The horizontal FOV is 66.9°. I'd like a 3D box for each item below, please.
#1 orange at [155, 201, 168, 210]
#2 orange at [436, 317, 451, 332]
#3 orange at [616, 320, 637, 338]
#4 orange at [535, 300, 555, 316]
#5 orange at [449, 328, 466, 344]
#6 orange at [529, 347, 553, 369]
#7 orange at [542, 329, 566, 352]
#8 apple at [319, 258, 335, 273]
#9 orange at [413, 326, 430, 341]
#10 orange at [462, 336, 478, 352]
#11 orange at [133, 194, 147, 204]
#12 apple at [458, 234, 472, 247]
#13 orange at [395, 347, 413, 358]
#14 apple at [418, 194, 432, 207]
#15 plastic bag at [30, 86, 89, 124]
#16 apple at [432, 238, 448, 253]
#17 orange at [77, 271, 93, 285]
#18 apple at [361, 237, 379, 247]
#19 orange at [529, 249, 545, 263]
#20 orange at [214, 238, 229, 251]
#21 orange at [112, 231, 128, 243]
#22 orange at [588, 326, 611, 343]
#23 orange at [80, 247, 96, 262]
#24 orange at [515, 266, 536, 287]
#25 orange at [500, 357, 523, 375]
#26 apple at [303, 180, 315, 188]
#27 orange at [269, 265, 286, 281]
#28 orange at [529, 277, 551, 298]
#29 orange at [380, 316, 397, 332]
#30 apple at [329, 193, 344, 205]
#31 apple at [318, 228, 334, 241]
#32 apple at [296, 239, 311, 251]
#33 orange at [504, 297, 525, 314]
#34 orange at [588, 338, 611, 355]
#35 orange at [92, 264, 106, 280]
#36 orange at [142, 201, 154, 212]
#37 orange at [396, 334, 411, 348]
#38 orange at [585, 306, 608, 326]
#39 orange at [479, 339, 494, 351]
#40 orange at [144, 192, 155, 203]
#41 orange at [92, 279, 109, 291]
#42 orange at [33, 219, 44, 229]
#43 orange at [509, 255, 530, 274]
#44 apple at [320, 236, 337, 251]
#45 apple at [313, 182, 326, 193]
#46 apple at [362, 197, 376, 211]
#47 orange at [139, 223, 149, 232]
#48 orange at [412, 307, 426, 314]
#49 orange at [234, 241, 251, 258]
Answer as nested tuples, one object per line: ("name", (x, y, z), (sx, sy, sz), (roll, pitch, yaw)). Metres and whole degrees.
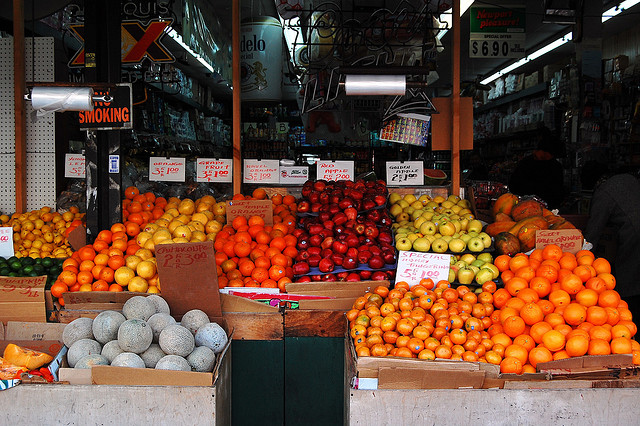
("orange", (-1.500, -0.084, 4.580), (0.095, 0.082, 0.079), (-9, 24, -35))
("orange", (0.779, 0.696, 3.061), (0.080, 0.085, 0.076), (-7, 0, -22))
("orange", (1.967, 0.732, 3.114), (0.095, 0.055, 0.097), (13, 18, 38))
("orange", (1.477, 0.611, 3.169), (0.084, 0.091, 0.102), (-16, 5, -8))
("orange", (0.848, 0.758, 2.986), (0.082, 0.083, 0.082), (-10, 14, -31))
("orange", (1.350, 0.883, 2.957), (0.145, 0.116, 0.073), (1, 5, 8))
("orange", (1.432, 0.781, 2.998), (0.118, 0.125, 0.065), (37, 0, 8))
("apple", (0.048, 0.411, 3.788), (0.094, 0.115, 0.104), (3, 2, 1))
("orange", (0.626, 0.743, 3.017), (0.072, 0.075, 0.076), (-6, 36, 4))
("orange", (0.915, 0.803, 2.976), (0.082, 0.076, 0.072), (19, 38, -5))
("orange", (-1.711, -0.133, 4.572), (0.126, 0.079, 0.130), (2, 6, 16))
("apple", (1.158, 0.218, 3.871), (0.096, 0.089, 0.061), (2, 6, 16))
("orange", (0.499, 0.847, 2.942), (0.101, 0.048, 0.076), (-4, 7, -40))
("apple", (0.985, -0.114, 4.556), (0.103, 0.109, 0.126), (0, -5, -20))
("plastic bag", (-2.154, -0.908, 4.019), (0.337, 0.270, 0.148), (1, -4, 3))
("apple", (0.949, 0.262, 3.862), (0.100, 0.107, 0.101), (-14, -1, 3))
("orange", (-1.806, 0.497, 3.726), (0.089, 0.094, 0.090), (2, 12, -5))
("apple", (0.395, 0.227, 3.927), (0.117, 0.064, 0.110), (3, 6, 27))
("orange", (1.603, 0.320, 3.591), (0.075, 0.080, 0.092), (-7, 5, 11))
("orange", (-0.832, 0.261, 4.046), (0.100, 0.089, 0.085), (-23, 3, -8))
("orange", (-1.670, 0.196, 4.027), (0.099, 0.089, 0.086), (0, -5, 16))
("orange", (1.746, 0.768, 3.049), (0.096, 0.100, 0.099), (4, -18, -5))
("orange", (-1.855, 0.330, 3.862), (0.093, 0.096, 0.110), (-34, -46, 24))
("orange", (1.438, 0.440, 3.391), (0.114, 0.148, 0.118), (-10, -5, 43))
("orange", (1.148, 0.919, 2.932), (0.095, 0.115, 0.098), (35, -12, 41))
("apple", (-0.105, -0.271, 4.492), (0.065, 0.038, 0.067), (-10, -4, 35))
("orange", (-0.344, 0.466, 3.768), (0.104, 0.112, 0.107), (-4, -11, -3))
("orange", (1.494, 0.504, 3.298), (0.120, 0.128, 0.121), (-10, -12, 24))
("orange", (0.430, 0.710, 3.077), (0.079, 0.080, 0.081), (-17, -34, 3))
("apple", (0.136, -0.130, 4.247), (0.107, 0.093, 0.090), (-28, 33, -16))
("apple", (0.047, 0.167, 3.982), (0.088, 0.074, 0.068), (-5, -1, -2))
("apple", (-0.140, 0.262, 4.010), (0.071, 0.091, 0.118), (-3, 6, -28))
("orange", (1.283, 0.600, 3.245), (0.090, 0.097, 0.109), (-27, -12, -16))
("orange", (1.711, 0.820, 2.983), (0.097, 0.117, 0.099), (17, -36, 31))
("orange", (-1.729, 0.460, 3.821), (0.095, 0.100, 0.117), (14, -19, 1))
("orange", (-1.610, -0.063, 4.522), (0.086, 0.087, 0.084), (-37, 0, -13))
("orange", (0.511, 0.791, 3.003), (0.066, 0.081, 0.068), (5, -22, -14))
("orange", (1.767, 0.655, 3.102), (0.112, 0.121, 0.110), (-1, -24, 9))
("orange", (1.025, 0.814, 2.994), (0.063, 0.067, 0.064), (-2, -4, -11))
("orange", (-1.632, -0.169, 4.628), (0.081, 0.081, 0.096), (37, 5, -44))
("orange", (-1.658, 0.548, 3.647), (0.081, 0.083, 0.079), (-2, 20, -5))
("orange", (-2.771, 0.104, 4.752), (0.082, 0.086, 0.095), (25, -5, -14))
("orange", (1.415, 0.350, 3.523), (0.117, 0.124, 0.121), (36, -7, -22))
("apple", (0.063, 0.243, 3.896), (0.100, 0.082, 0.077), (-20, -38, -2))
("apple", (-0.011, -0.230, 4.425), (0.097, 0.078, 0.075), (-3, -26, 38))
("apple", (0.415, -0.075, 4.187), (0.095, 0.100, 0.094), (17, -29, -6))
("orange", (-1.521, 0.122, 4.175), (0.049, 0.059, 0.050), (38, 6, 8))
("orange", (0.649, 0.636, 3.178), (0.042, 0.043, 0.043), (-5, 11, -20))
("orange", (-0.636, 0.292, 4.005), (0.114, 0.122, 0.118), (18, 26, 15))
